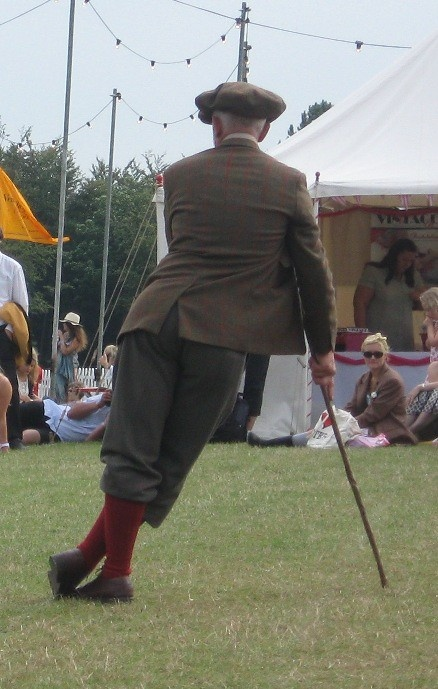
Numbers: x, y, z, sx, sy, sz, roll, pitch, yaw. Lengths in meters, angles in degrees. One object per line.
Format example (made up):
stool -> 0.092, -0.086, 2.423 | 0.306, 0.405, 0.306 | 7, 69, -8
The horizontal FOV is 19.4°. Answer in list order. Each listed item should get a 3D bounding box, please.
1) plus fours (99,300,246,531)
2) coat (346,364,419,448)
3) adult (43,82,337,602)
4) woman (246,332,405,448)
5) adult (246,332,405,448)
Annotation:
plus fours -> -0.148, 0.229, 3.888 | 0.388, 0.546, 0.163 | 2, -1, -6
coat -> 0.986, 0.396, 8.181 | 0.425, 0.533, 0.405 | 2, -4, -24
adult -> -0.035, 0.015, 4.077 | 0.687, 1.777, 0.546 | 10, -10, 8
woman -> 0.709, 0.328, 8.099 | 1.012, 0.792, 0.486 | -2, -2, -9
adult -> 0.696, 0.322, 8.107 | 1.025, 0.802, 0.502 | -1, -1, -7
